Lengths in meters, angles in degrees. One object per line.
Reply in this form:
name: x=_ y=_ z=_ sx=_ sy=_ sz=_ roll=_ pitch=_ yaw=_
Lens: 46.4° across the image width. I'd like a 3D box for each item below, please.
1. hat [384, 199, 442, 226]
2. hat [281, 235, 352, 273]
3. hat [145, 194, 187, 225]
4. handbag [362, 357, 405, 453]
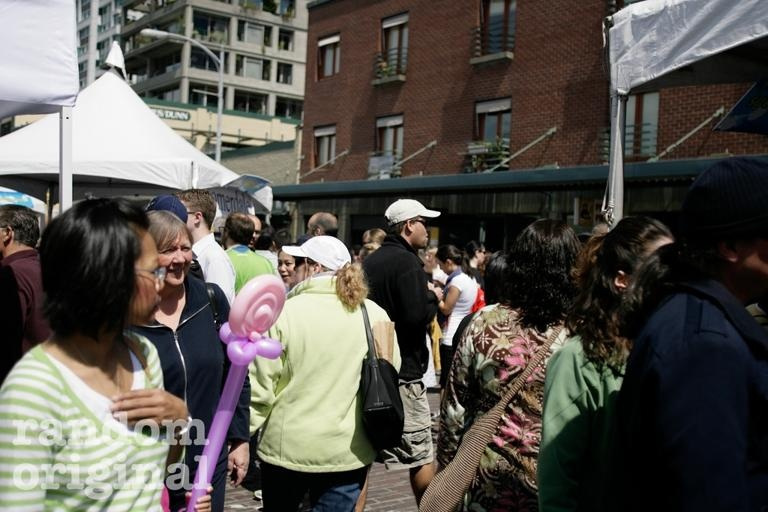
hat: x=0.249 y=-0.410 z=7.922 sx=0.409 sy=0.181 sz=0.278 roll=-6 pitch=3 yaw=-15
hat: x=-0.456 y=-0.038 z=6.419 sx=0.367 sy=0.200 sz=0.251 roll=13 pitch=0 yaw=8
hat: x=-1.422 y=-0.331 z=5.854 sx=0.278 sy=0.157 sz=0.178 roll=23 pitch=20 yaw=37
handbag: x=-0.018 y=0.987 z=5.952 sx=0.229 sy=0.614 sz=0.573 roll=-8 pitch=-7 yaw=1
